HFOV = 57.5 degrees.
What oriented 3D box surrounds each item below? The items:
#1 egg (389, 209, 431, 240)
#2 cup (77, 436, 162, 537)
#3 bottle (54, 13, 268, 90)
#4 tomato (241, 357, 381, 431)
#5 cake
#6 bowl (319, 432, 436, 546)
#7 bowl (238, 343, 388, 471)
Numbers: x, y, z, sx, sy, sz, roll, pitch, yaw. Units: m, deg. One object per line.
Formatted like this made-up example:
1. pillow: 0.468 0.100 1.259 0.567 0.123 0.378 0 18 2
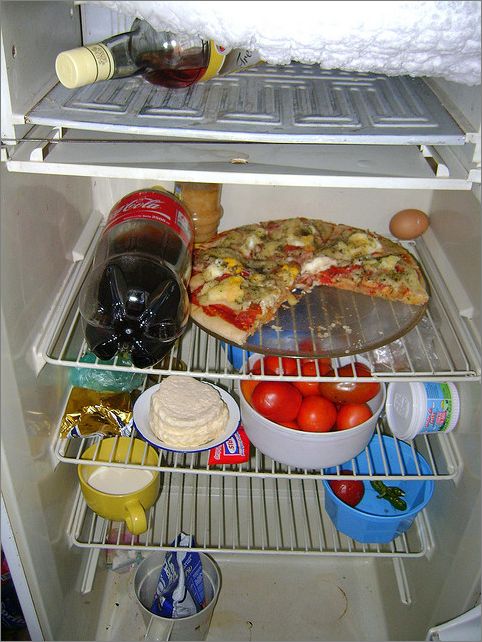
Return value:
1. egg: 0.363 -0.208 0.948 0.074 0.060 0.059 -10 -8 14
2. cup: -0.234 0.330 0.843 0.150 0.094 0.197 2 26 -22
3. bottle: -0.086 -0.309 0.510 0.079 0.086 0.296 31 40 29
4. tomato: 0.132 0.126 0.754 0.171 0.068 0.163 1 29 0
5. cake: -0.089 0.152 0.752 0.129 0.051 0.145 3 33 3
6. bowl: 0.254 0.369 0.922 0.235 0.148 0.232 -3 46 3
7. bowl: 0.126 0.194 0.824 0.220 0.095 0.214 0 16 0
